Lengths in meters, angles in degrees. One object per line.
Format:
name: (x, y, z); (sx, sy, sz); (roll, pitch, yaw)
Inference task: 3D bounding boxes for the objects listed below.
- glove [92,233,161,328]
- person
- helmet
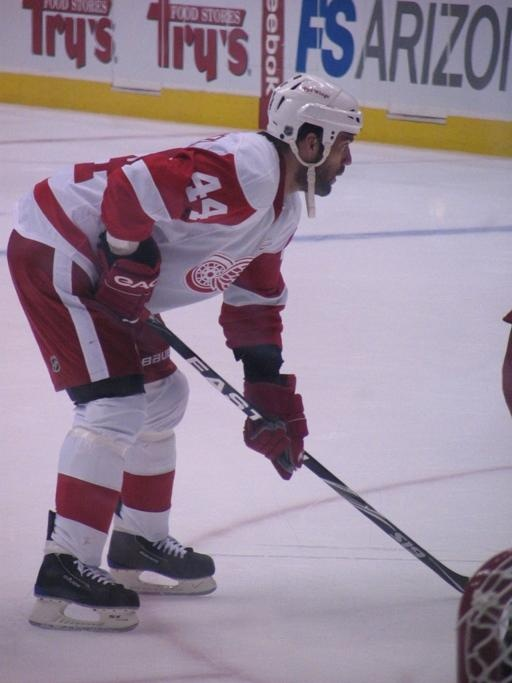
glove: (-0.267, -0.128, 1.701); (0.104, 0.119, 0.166); (-18, -20, -27)
person: (-0.184, -0.002, 1.819); (0.724, 1.137, 0.429); (-6, 17, -34)
helmet: (0.098, -0.493, 1.817); (0.213, 0.150, 0.144); (3, 16, -10)
